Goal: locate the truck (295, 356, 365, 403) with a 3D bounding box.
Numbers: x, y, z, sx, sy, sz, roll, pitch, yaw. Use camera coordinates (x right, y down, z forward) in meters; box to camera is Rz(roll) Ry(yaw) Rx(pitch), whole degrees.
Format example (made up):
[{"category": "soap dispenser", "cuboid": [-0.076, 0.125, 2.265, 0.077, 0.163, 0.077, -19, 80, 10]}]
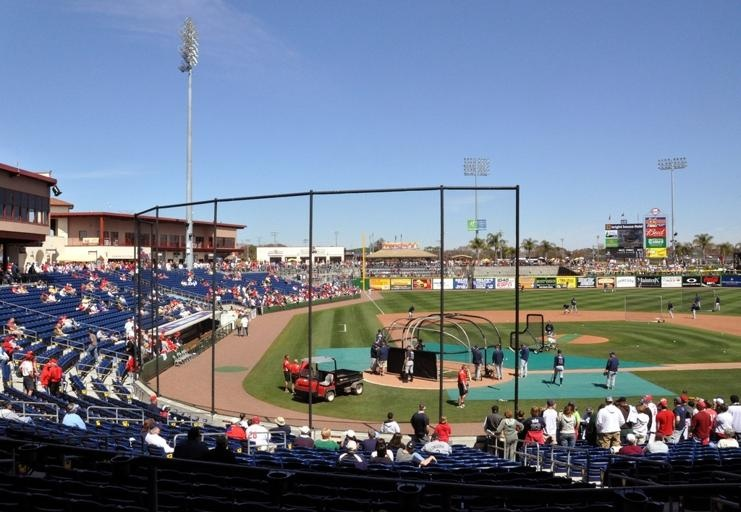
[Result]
[{"category": "truck", "cuboid": [-2.079, 6.012, 37.345, 2.172, 1.935, 3.354, -5, -5, 41]}]
